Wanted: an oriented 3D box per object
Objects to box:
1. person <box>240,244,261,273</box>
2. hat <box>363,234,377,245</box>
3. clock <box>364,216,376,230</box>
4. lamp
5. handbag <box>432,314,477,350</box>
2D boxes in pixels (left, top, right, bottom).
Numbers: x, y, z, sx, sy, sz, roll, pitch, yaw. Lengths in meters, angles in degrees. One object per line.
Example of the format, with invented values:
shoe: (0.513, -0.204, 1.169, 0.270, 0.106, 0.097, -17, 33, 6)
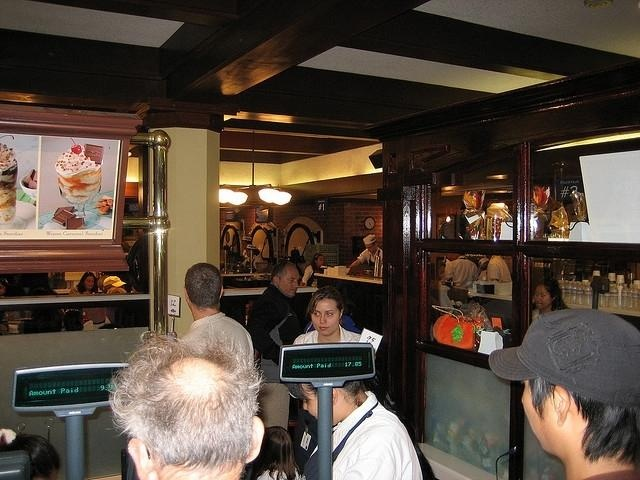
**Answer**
person: (-1.825, 0.488, 12.608, 0.688, 1.128, 0.649, 2, -2, -11)
hat: (0.907, -0.014, 8.518, 0.189, 0.198, 0.250, -2, 3, 10)
clock: (1.149, -0.401, 10.618, 0.079, 0.303, 0.329, 1, 1, 45)
lamp: (-1.309, -1.388, 9.401, 1.709, 1.607, 1.563, 3, 5, 17)
handbag: (0.794, 0.531, 2.723, 0.073, 0.180, 0.280, 0, 1, -36)
